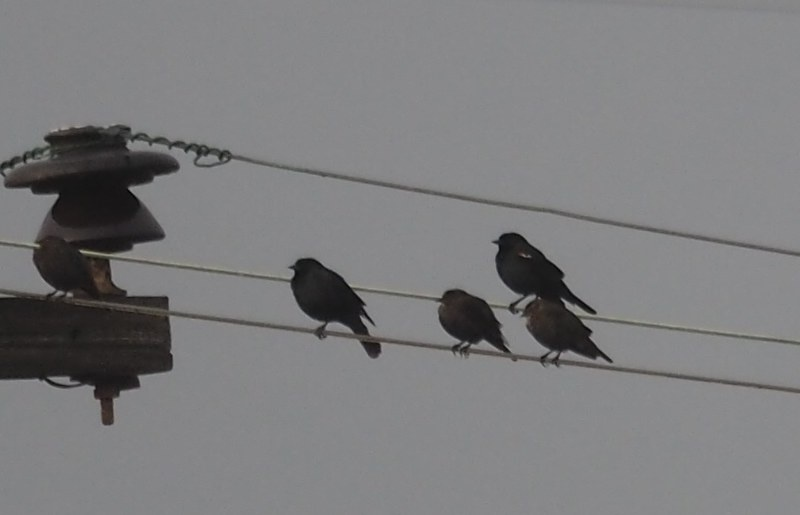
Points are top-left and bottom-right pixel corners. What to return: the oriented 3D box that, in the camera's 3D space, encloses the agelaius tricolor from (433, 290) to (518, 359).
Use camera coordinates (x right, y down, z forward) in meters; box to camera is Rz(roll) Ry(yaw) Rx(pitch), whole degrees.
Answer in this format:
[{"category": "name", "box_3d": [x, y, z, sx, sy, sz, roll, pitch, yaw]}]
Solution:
[{"category": "agelaius tricolor", "box_3d": [0.649, 0.581, 16.479, 0.933, 0.542, 0.406, 9, 25, -14]}]
